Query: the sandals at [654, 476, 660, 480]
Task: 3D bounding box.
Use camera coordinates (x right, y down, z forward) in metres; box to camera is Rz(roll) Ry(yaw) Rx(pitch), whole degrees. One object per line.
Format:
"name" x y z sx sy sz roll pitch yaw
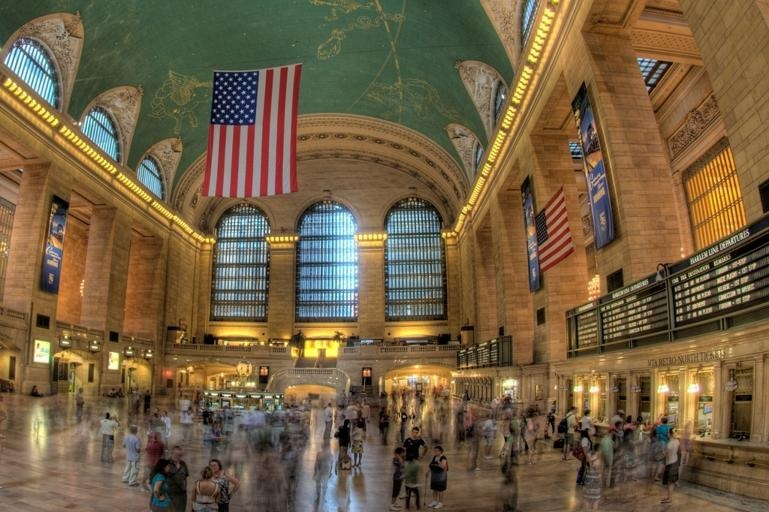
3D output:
"sandals" 7.490 6.023 15.857 0.104 0.089 0.228 -14 -23 37

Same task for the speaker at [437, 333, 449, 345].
"speaker" 5.019 7.007 49.479 1.137 1.073 0.632 2 -32 7

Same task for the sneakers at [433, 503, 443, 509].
"sneakers" 1.349 6.230 14.640 0.094 0.103 0.240 -15 -23 38

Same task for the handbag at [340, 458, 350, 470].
"handbag" -1.187 6.423 18.200 0.363 0.478 0.258 2 -15 -6

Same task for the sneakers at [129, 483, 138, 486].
"sneakers" -6.817 6.128 15.789 0.155 0.071 0.215 -14 -23 37

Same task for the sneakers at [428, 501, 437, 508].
"sneakers" 1.222 6.251 14.728 0.253 0.109 0.104 1 -9 0

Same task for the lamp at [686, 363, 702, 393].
"lamp" 8.661 3.414 16.194 0.436 0.742 0.521 -5 -19 18

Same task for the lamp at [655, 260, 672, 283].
"lamp" 8.219 0.475 17.095 0.219 0.438 0.483 2 -18 -4
